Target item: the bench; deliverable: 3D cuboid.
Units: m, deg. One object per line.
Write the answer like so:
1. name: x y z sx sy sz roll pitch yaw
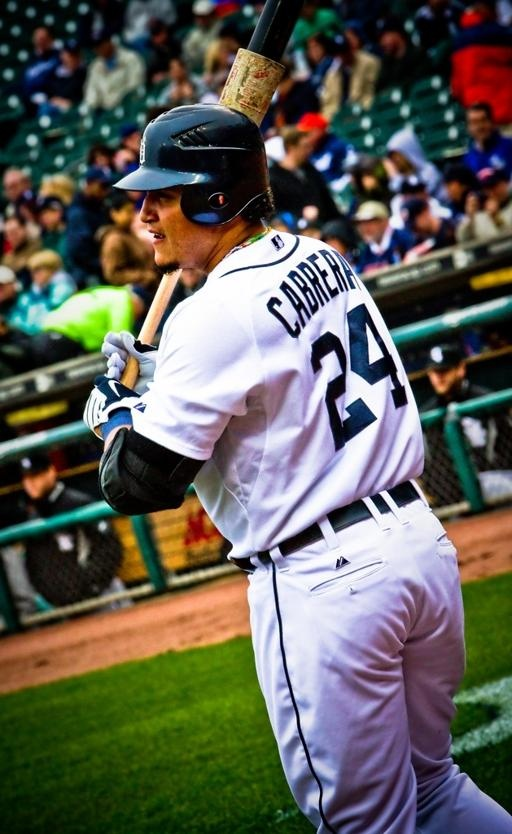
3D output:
1. bench: -0.382 0.567 4.297 0.602 0.355 0.129 -10 4 -24

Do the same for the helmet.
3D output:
1. helmet: -0.115 -0.450 1.731 0.339 0.205 0.250 -8 4 -9
